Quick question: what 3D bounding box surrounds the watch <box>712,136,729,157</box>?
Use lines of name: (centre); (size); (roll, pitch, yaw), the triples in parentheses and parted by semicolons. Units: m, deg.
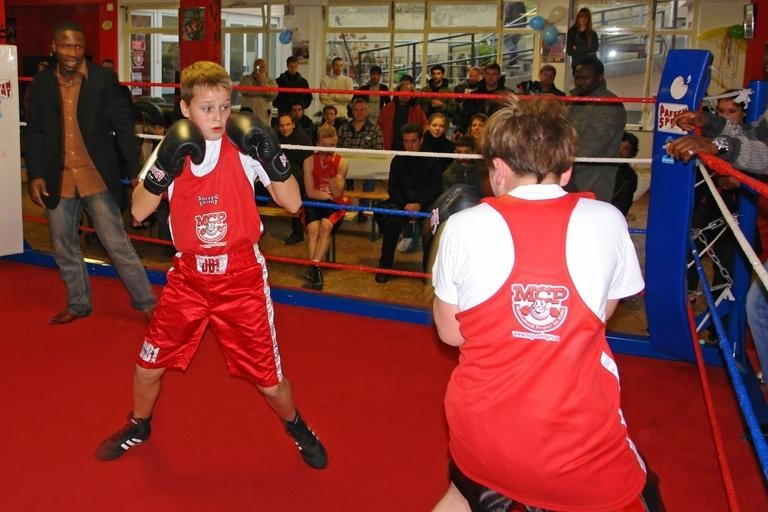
watch: (1.424, -0.464, 2.530); (0.083, 0.075, 0.034); (-7, 16, -28)

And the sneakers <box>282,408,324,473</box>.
sneakers: (-0.325, 0.784, 2.599); (0.111, 0.319, 0.127); (-36, 3, -5)

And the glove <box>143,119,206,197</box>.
glove: (-0.805, -0.373, 2.284); (0.247, 0.291, 0.128); (-5, 15, -20)

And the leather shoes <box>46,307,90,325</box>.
leather shoes: (-1.933, 0.372, 3.688); (0.263, 0.100, 0.087); (-6, 37, -31)

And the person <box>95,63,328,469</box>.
person: (-0.683, 0.072, 2.445); (0.905, 1.664, 0.240); (2, 15, 5)

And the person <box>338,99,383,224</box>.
person: (-0.297, -0.968, 6.257); (0.574, 1.415, 0.493); (6, 34, 3)

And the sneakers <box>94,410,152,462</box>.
sneakers: (-1.099, 0.763, 2.654); (0.110, 0.130, 0.318); (44, 25, 13)

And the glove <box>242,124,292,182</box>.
glove: (-0.440, -0.416, 2.359); (0.169, 0.206, 0.097); (-17, 22, 14)

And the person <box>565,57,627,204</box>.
person: (1.332, -0.839, 4.103); (0.367, 0.955, 0.315); (0, 22, -5)
